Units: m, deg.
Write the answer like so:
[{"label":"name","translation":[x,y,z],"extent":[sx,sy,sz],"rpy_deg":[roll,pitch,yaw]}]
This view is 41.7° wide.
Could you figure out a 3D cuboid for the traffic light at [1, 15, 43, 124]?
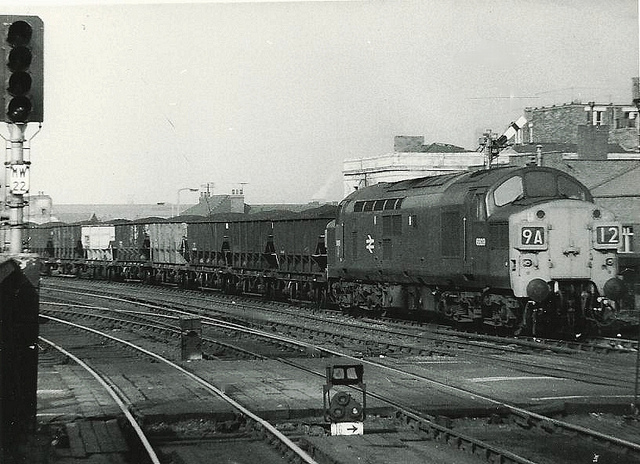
[{"label":"traffic light","translation":[-4.468,-2.445,12.582],"extent":[0.587,1.613,0.253],"rpy_deg":[0,-2,-18]}]
